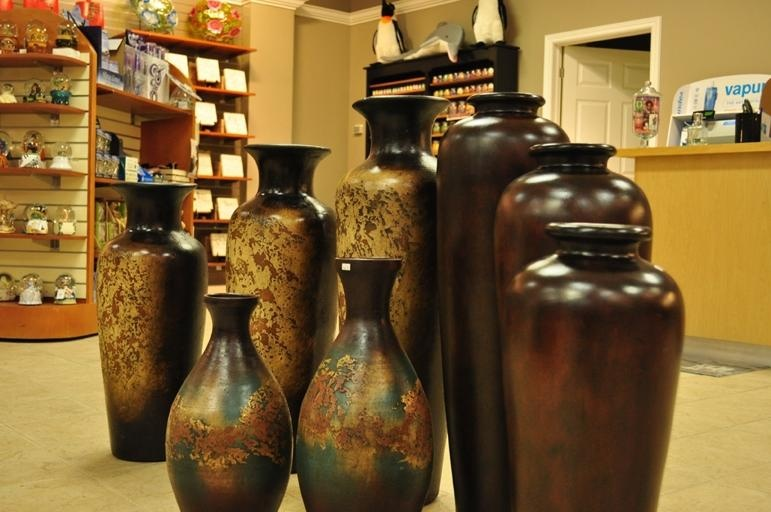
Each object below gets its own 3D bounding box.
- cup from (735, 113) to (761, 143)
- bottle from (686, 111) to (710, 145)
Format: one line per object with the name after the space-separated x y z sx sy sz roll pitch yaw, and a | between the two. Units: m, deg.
2.226 -0.799 4.007 0.137 0.180 0.107 4 8 27 | cup
2.063 -0.852 4.321 0.121 0.220 0.286 4 8 24 | bottle
